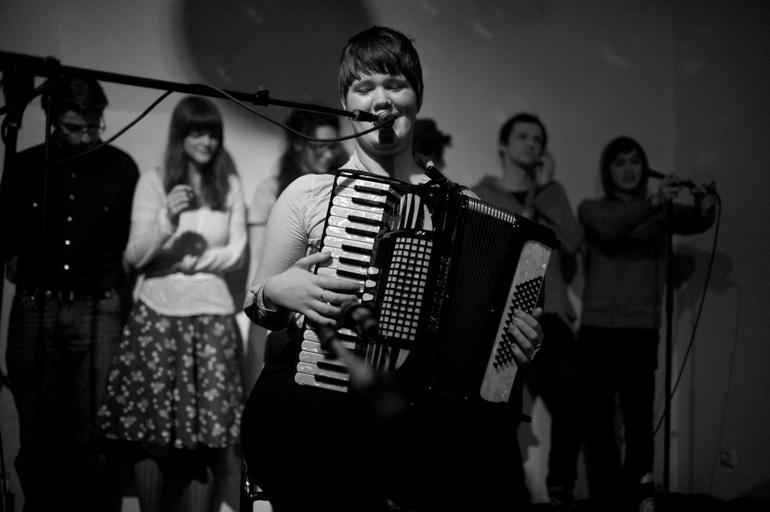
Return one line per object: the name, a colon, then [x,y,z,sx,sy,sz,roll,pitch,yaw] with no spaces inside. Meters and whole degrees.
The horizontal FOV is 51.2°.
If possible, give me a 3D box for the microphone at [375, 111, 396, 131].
microphone: [0.001,-0.664,4.015,0.087,0.092,0.086,14,44,12]
